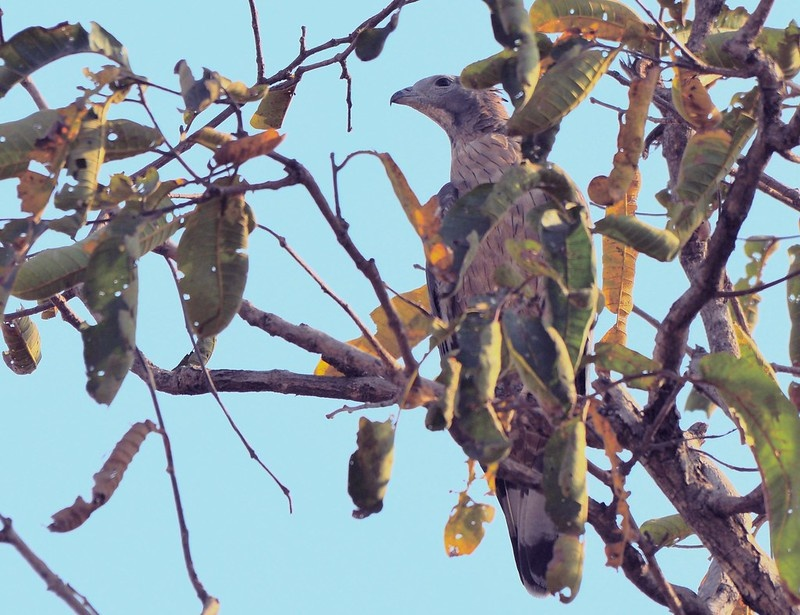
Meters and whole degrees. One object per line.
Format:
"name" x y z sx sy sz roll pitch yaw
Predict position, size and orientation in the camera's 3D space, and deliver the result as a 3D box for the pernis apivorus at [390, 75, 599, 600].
"pernis apivorus" 0.436 -0.221 7.271 0.757 1.489 2.889 -6 -85 -13
